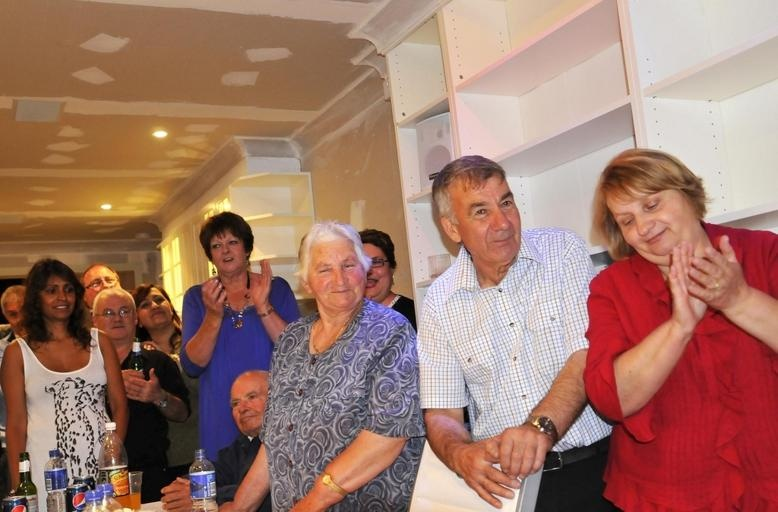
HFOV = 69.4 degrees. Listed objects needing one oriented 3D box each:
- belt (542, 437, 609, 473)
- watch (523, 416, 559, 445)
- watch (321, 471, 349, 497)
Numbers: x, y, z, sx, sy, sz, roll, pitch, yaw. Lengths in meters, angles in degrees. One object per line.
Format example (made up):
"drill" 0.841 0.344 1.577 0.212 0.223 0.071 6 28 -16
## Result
"belt" 0.558 0.599 1.690 0.275 0.054 0.039 -6 33 -42
"watch" 0.427 0.484 1.572 0.087 0.072 0.047 -7 -5 14
"watch" -0.188 0.755 1.856 0.039 0.086 0.081 -51 6 4
